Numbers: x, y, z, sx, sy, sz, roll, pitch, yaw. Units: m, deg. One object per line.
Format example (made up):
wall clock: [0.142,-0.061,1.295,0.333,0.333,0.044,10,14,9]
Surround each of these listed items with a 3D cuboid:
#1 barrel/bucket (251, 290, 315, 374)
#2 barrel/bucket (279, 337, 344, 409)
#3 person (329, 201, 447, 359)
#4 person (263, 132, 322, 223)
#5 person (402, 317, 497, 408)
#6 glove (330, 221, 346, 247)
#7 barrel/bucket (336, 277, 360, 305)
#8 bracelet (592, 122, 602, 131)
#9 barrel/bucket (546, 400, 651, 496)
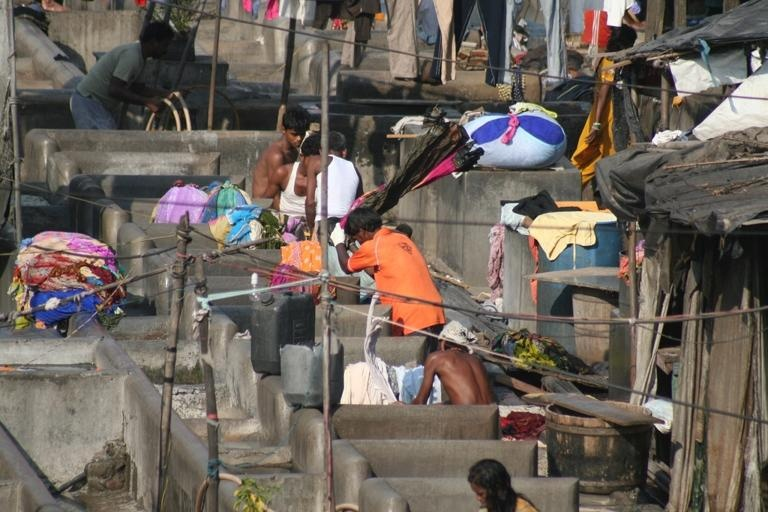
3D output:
barrel/bucket: [-1.266,0.885,25.362,0.599,1.052,1.024,6,9,40]
barrel/bucket: [-0.908,1.376,24.840,0.836,0.845,0.631,2,-2,8]
person: [0.140,0.353,27.114,0.913,1.855,1.298,-7,17,-42]
person: [-1.182,-1.029,29.215,0.844,1.286,0.747,11,6,-23]
person: [0.817,1.463,25.822,1.058,1.382,0.888,3,-3,-36]
glove: [-0.616,-0.283,27.562,0.207,0.276,0.085,0,-10,-7]
barrel/bucket: [-0.491,0.417,26.954,0.247,0.274,0.244,1,26,0]
bracelet: [3.074,-1.878,30.800,0.113,0.097,0.112,-4,16,-31]
barrel/bucket: [2.550,2.270,25.492,1.088,0.781,1.076,3,0,0]
